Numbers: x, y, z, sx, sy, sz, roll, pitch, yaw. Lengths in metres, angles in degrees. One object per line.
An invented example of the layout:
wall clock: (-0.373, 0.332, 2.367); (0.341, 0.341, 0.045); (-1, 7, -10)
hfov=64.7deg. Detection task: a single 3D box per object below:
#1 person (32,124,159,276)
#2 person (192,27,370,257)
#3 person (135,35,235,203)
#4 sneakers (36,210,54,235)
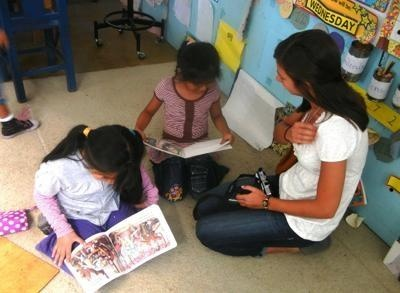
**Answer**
person: (-0.607, 0.234, 1.907); (0.712, 0.861, 0.442); (-16, 38, -26)
person: (0.502, 0.079, 1.767); (0.739, 1.323, 0.532); (20, 37, 23)
person: (-0.129, -0.230, 2.311); (0.712, 0.997, 0.620); (-3, 29, -26)
sneakers: (-1.024, 0.498, 2.086); (0.047, 0.132, 0.096); (-27, -8, 13)
